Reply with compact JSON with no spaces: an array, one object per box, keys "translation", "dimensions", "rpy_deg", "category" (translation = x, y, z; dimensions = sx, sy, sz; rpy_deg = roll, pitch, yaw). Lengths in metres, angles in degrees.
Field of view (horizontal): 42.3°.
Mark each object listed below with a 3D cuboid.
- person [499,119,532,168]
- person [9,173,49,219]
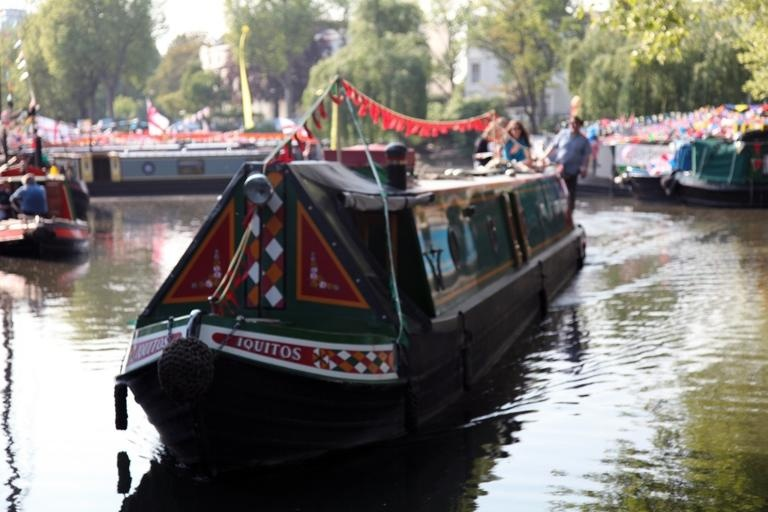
[{"translation":[2.588,-2.313,20.466],"dimensions":[0.527,0.533,1.160],"rpy_deg":[14,44,40],"category":"person"},{"translation":[-8.638,-1.464,24.124],"dimensions":[0.767,1.049,0.562],"rpy_deg":[-5,7,-21],"category":"person"}]
